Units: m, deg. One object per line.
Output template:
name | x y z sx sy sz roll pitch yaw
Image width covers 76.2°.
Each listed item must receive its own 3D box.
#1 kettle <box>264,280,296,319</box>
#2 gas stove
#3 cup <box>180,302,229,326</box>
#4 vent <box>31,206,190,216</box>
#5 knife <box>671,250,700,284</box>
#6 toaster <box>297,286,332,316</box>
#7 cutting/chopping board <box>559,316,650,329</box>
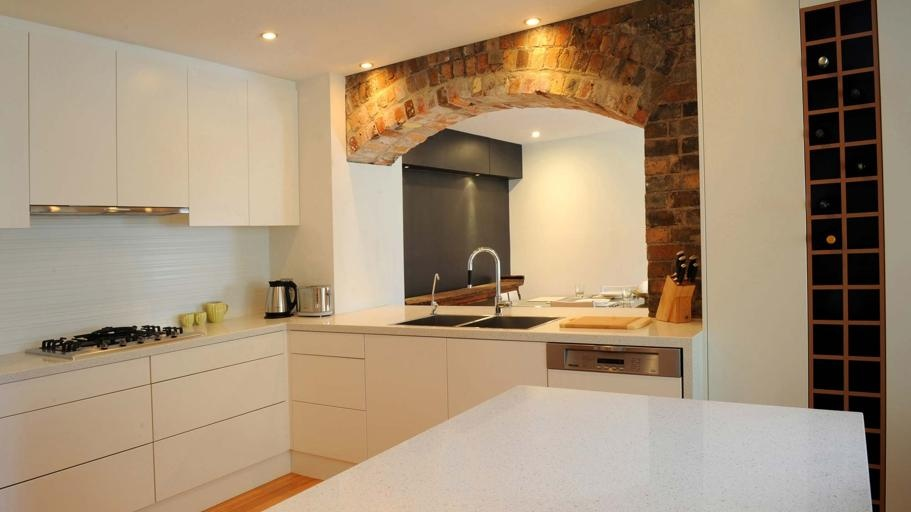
kettle | -1.532 0.363 5.128 0.361 0.316 0.252 4 -6 -43
gas stove | -2.442 0.605 4.189 0.994 0.122 0.508 -2 3 -39
cup | -2.109 0.482 4.882 0.157 0.124 0.301 3 8 37
vent | -2.529 -0.336 4.310 1.009 0.058 0.257 -2 3 -30
knife | 1.593 0.081 4.016 0.181 0.222 0.211 0 3 20
toaster | -1.191 0.391 5.105 0.309 0.286 0.232 -2 -2 16
cutting/chopping board | 1.053 0.462 4.064 0.593 0.060 0.315 0 2 18
